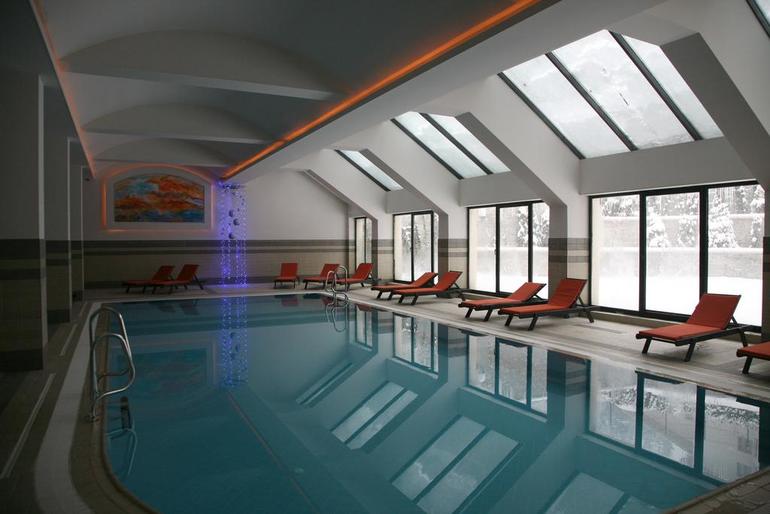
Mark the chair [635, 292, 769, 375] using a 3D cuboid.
[{"bbox_3d":[5.585,1.256,7.919,2.219,1.047,1.058,0,-2,-28],"label":"chair"}]
